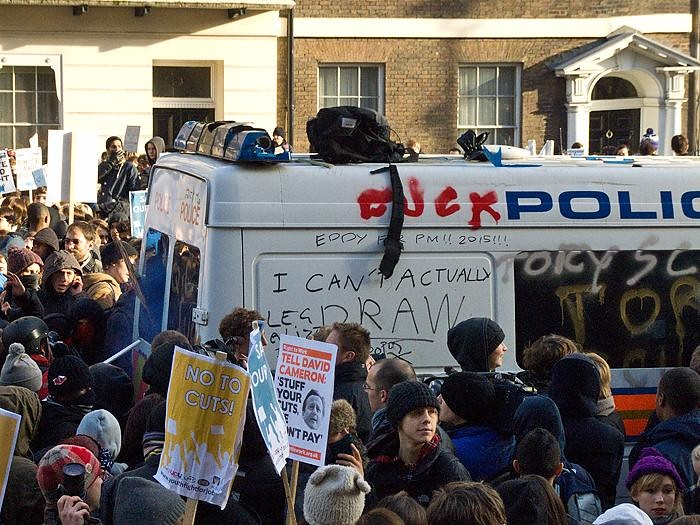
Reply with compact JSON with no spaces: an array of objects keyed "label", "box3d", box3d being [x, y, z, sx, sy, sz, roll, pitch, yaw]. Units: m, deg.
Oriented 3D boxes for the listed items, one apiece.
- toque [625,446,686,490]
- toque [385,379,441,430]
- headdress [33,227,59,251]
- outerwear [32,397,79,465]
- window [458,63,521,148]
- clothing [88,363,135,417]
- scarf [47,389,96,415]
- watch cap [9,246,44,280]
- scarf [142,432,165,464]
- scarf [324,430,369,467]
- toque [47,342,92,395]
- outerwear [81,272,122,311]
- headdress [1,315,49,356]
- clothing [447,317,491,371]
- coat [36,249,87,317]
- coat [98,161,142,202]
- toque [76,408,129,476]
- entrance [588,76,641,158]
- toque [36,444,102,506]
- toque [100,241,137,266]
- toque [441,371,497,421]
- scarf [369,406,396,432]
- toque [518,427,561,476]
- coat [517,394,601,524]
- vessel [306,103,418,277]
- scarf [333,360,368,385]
[{"label":"toque","box3d":[2.414,1.627,10.161,0.415,0.311,0.383,1,0,33]},{"label":"toque","box3d":[0.488,1.097,9.952,0.349,0.317,0.303,0,-2,33]},{"label":"headdress","box3d":[-3.505,-0.239,14.798,0.170,0.211,0.235,0,-35,46]},{"label":"outerwear","box3d":[-2.558,1.319,10.906,0.245,0.357,0.458,-18,-5,-10]},{"label":"window","box3d":[2.736,-2.936,25.534,1.273,1.983,0.142,1,-16,3]},{"label":"clothing","box3d":[-2.144,1.057,11.542,0.403,0.398,0.336,-11,21,-6]},{"label":"scarf","box3d":[-2.361,1.167,10.957,0.274,0.179,0.205,4,-5,-35]},{"label":"watch cap","box3d":[-3.475,0.016,13.826,0.332,0.307,0.266,10,-3,-11]},{"label":"scarf","box3d":[-1.509,1.406,9.969,0.225,0.237,0.175,-4,6,-43]},{"label":"scarf","box3d":[-0.036,1.446,10.180,0.257,0.301,0.201,-1,-17,10]},{"label":"toque","box3d":[-2.423,0.895,11.107,0.382,0.432,0.319,6,13,15]},{"label":"outerwear","box3d":[-2.674,0.424,13.848,0.342,0.573,0.661,-5,-3,-6]},{"label":"headdress","box3d":[-2.949,0.635,11.770,0.272,0.370,0.369,3,11,31]},{"label":"clothing","box3d":[1.086,0.686,11.223,0.415,0.468,0.331,-2,12,11]},{"label":"coat","box3d":[-3.047,0.203,13.519,0.386,0.694,0.373,5,-1,-5]},{"label":"coat","box3d":[-3.439,-1.160,19.225,0.644,0.723,0.384,3,6,7]},{"label":"toque","box3d":[-2.033,1.335,10.518,0.372,0.390,0.308,5,25,-10]},{"label":"entrance","box3d":[5.282,-2.784,26.247,1.187,2.297,0.228,-3,44,9]},{"label":"toque","box3d":[-2.109,1.596,9.770,0.382,0.479,0.548,-21,-21,25]},{"label":"toque","box3d":[-2.540,-0.071,14.057,0.435,0.325,0.343,-3,7,4]},{"label":"toque","box3d":[1.007,1.158,10.663,0.388,0.502,0.564,-1,-2,22]},{"label":"scarf","box3d":[0.259,1.271,10.490,0.136,0.222,0.205,-1,31,4]},{"label":"toque","box3d":[1.466,1.465,9.940,0.256,0.354,0.342,0,35,11]},{"label":"coat","box3d":[1.687,1.594,10.342,0.562,1.015,0.365,-9,9,-16]},{"label":"vessel","box3d":[0.149,-0.582,12.134,0.890,1.705,1.093,-5,7,-8]},{"label":"scarf","box3d":[0.013,0.930,10.966,0.228,0.199,0.179,1,-2,-19]}]
